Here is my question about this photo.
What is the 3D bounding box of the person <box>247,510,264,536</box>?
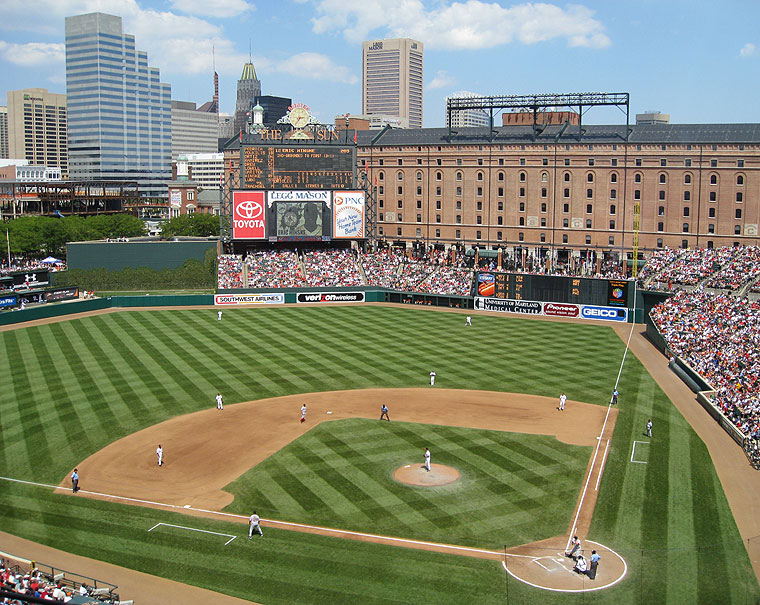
[{"bbox_3d":[-6.699,11.831,45.906,0.856,1.786,0.968,4,14,6],"label":"person"}]

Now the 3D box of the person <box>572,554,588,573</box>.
[{"bbox_3d":[10.007,12.870,42.500,0.664,0.614,1.006,3,14,14],"label":"person"}]

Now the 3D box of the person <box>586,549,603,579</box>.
[{"bbox_3d":[10.636,12.652,42.288,0.569,1.209,1.738,4,14,16],"label":"person"}]
